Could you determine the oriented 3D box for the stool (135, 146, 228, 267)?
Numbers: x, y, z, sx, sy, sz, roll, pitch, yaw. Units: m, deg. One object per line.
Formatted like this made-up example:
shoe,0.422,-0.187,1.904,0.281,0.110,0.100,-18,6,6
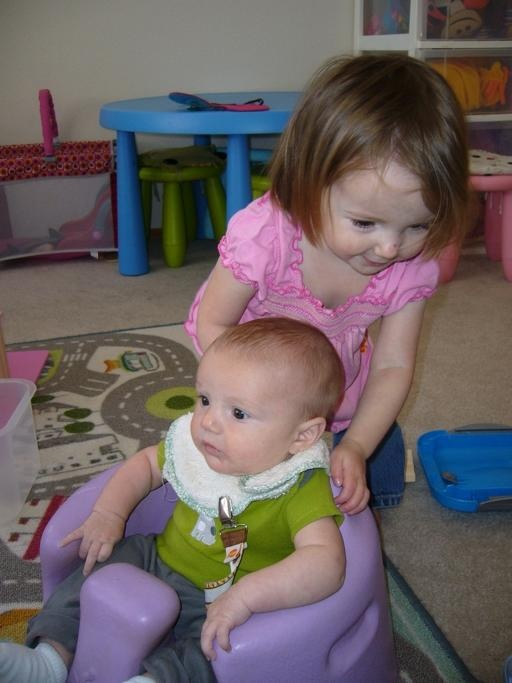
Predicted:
stool,-0.330,-0.577,2.408,0.456,0.388,0.440,5,27,10
